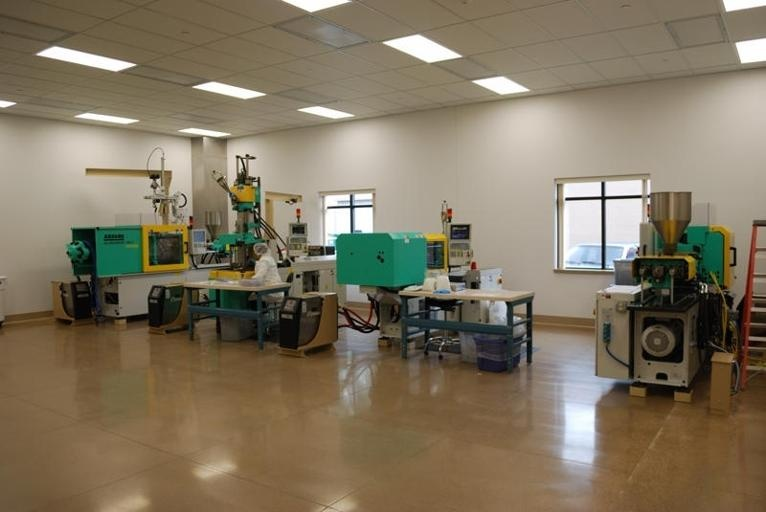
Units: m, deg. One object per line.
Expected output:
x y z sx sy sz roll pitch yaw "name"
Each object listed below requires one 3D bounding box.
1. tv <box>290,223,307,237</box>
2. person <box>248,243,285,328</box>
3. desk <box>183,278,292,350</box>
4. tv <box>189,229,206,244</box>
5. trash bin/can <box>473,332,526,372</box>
-1.607 -0.516 10.300 0.384 0.258 0.206 0 7 -18 "tv"
-1.941 0.391 8.888 0.634 1.159 0.491 3 12 9 "person"
-2.382 0.855 8.897 1.816 0.909 0.938 -1 1 30 "desk"
-3.823 -0.426 11.272 0.169 0.282 0.415 5 11 32 "tv"
1.528 1.333 7.396 0.568 0.383 0.480 -1 -11 44 "trash bin/can"
